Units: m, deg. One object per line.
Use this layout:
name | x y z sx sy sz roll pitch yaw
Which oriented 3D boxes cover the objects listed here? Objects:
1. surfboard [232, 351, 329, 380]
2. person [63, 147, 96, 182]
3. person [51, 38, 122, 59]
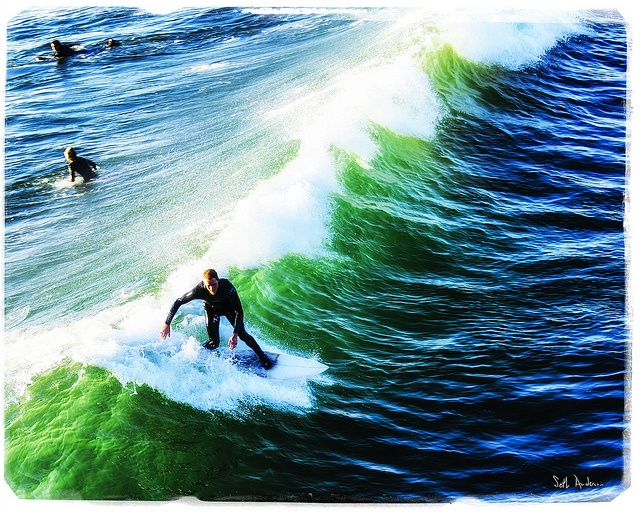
surfboard | -0.808 2.199 13.457 2.716 0.565 0.289 5 -28 -9
person | -5.892 -2.230 16.393 0.695 0.854 0.360 -17 19 -10
person | -6.426 -5.616 18.224 1.312 0.332 0.664 -10 10 4
